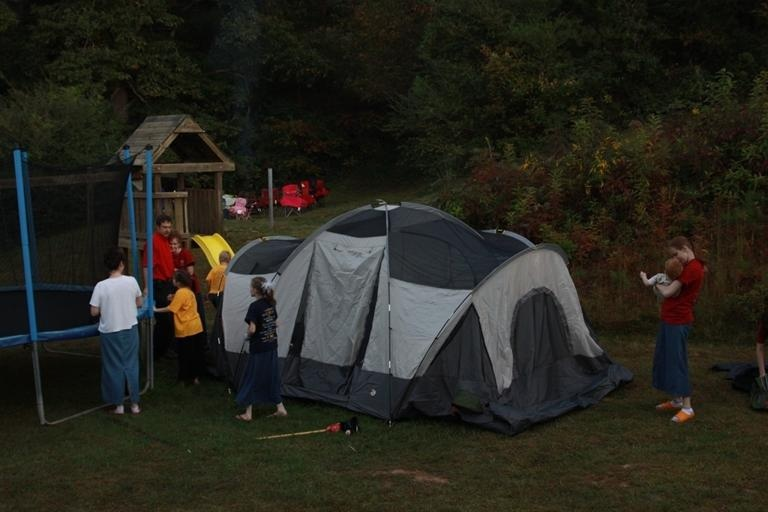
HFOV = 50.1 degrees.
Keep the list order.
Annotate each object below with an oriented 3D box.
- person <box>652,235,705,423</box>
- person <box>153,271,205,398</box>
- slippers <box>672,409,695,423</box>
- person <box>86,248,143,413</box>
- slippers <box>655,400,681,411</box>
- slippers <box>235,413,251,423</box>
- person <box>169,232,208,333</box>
[{"bbox_3d":[5.159,1.292,14.405,0.768,3.244,0.470,3,6,14],"label":"person"},{"bbox_3d":[-3.963,1.392,16.076,0.901,2.184,0.823,3,-6,-42],"label":"person"},{"bbox_3d":[5.281,2.833,14.454,0.404,0.156,0.193,-15,0,-34],"label":"slippers"},{"bbox_3d":[-4.757,1.372,14.664,0.833,3.022,0.331,0,6,-17],"label":"person"},{"bbox_3d":[5.125,2.679,14.775,0.469,0.184,0.167,3,2,14],"label":"slippers"},{"bbox_3d":[-2.528,2.931,14.803,0.259,0.204,0.109,8,-2,27],"label":"slippers"},{"bbox_3d":[-4.130,0.694,16.713,0.778,2.242,0.685,-6,16,1],"label":"person"}]
